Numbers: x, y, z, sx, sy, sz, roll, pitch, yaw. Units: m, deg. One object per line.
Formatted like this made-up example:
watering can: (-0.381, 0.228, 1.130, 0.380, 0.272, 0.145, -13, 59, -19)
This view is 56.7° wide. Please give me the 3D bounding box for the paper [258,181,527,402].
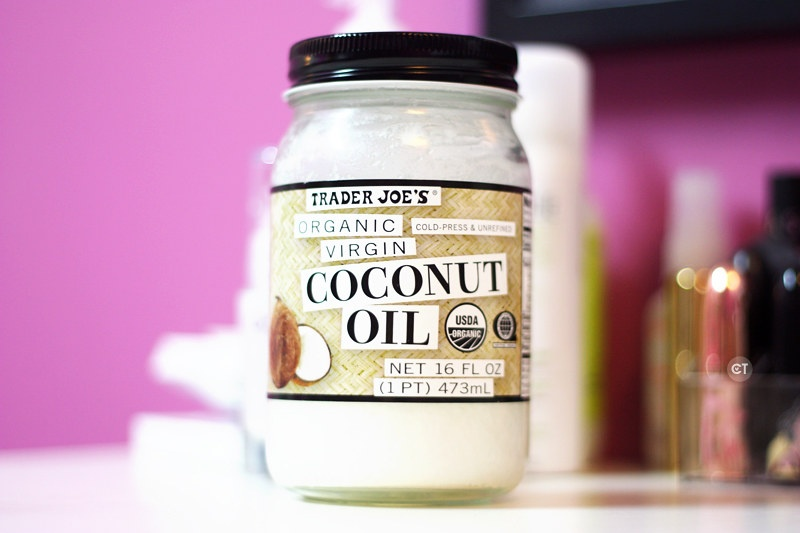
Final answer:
paper: (0.000, 0.018, 0.509, 0.172, 0.150, 0.046, 1, -5, -4)
